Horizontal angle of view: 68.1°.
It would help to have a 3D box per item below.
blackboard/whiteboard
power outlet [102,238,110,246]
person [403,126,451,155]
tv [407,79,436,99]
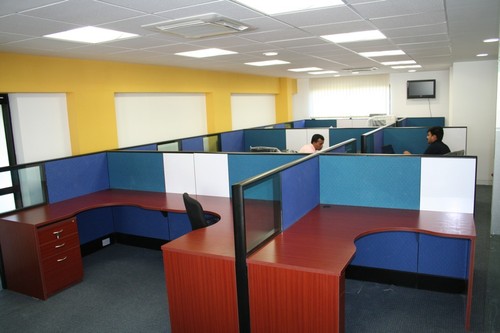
[{"bbox_3d":[3.335,-2.403,12.668,2.654,1.366,0.064,4,14,32],"label":"blackboard/whiteboard"},{"bbox_3d":[-2.182,1.155,5.656,0.016,0.097,0.151,1,3,26],"label":"power outlet"},{"bbox_3d":[2.966,-0.411,5.969,0.366,0.471,0.758,-1,4,43],"label":"person"},{"bbox_3d":[4.992,-2.254,10.774,0.664,0.448,0.109,2,3,23],"label":"tv"}]
